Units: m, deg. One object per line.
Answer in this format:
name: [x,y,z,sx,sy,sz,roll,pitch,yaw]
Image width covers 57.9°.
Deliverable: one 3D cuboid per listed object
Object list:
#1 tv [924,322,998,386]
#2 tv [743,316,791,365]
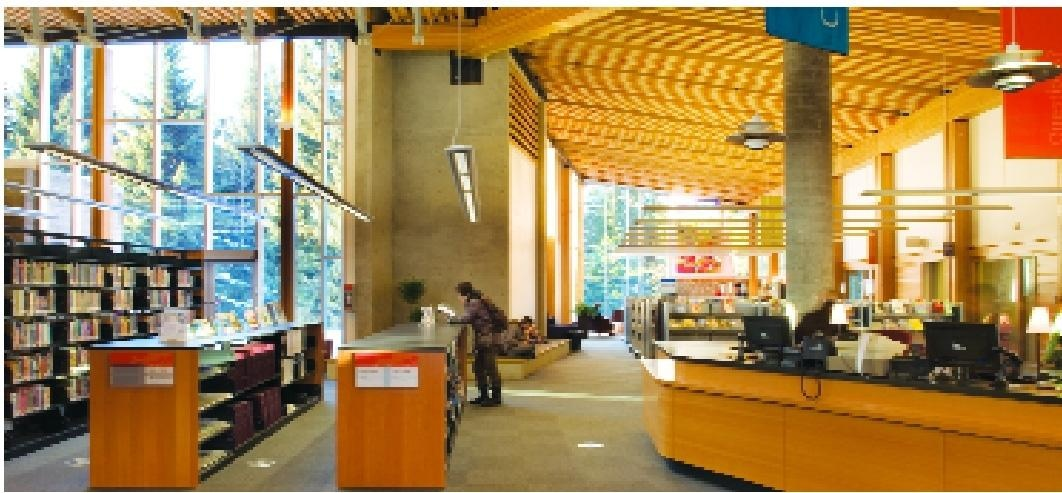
tv: [8.616,2.046,19.158,1.412,1.071,0.784,-2,-5,18]
tv: [5.032,1.919,20.422,1.306,0.824,0.257,-3,-13,1]
